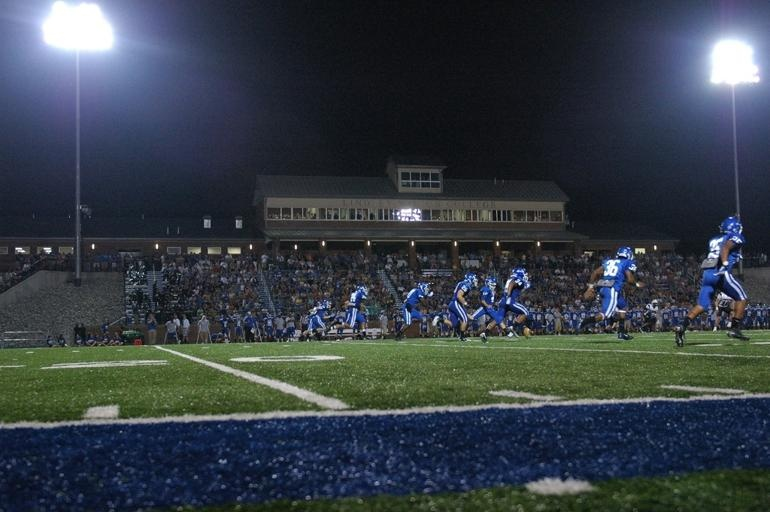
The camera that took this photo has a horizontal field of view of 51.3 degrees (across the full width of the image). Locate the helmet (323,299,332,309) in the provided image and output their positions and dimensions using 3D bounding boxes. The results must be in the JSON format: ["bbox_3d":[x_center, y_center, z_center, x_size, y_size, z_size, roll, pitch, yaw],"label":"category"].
[{"bbox_3d":[-1.563,1.289,21.648,0.171,0.223,0.465,-2,-2,4],"label":"helmet"}]

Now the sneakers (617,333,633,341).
[{"bbox_3d":[4.514,1.501,15.058,0.175,0.129,0.300,3,-6,9],"label":"sneakers"}]
